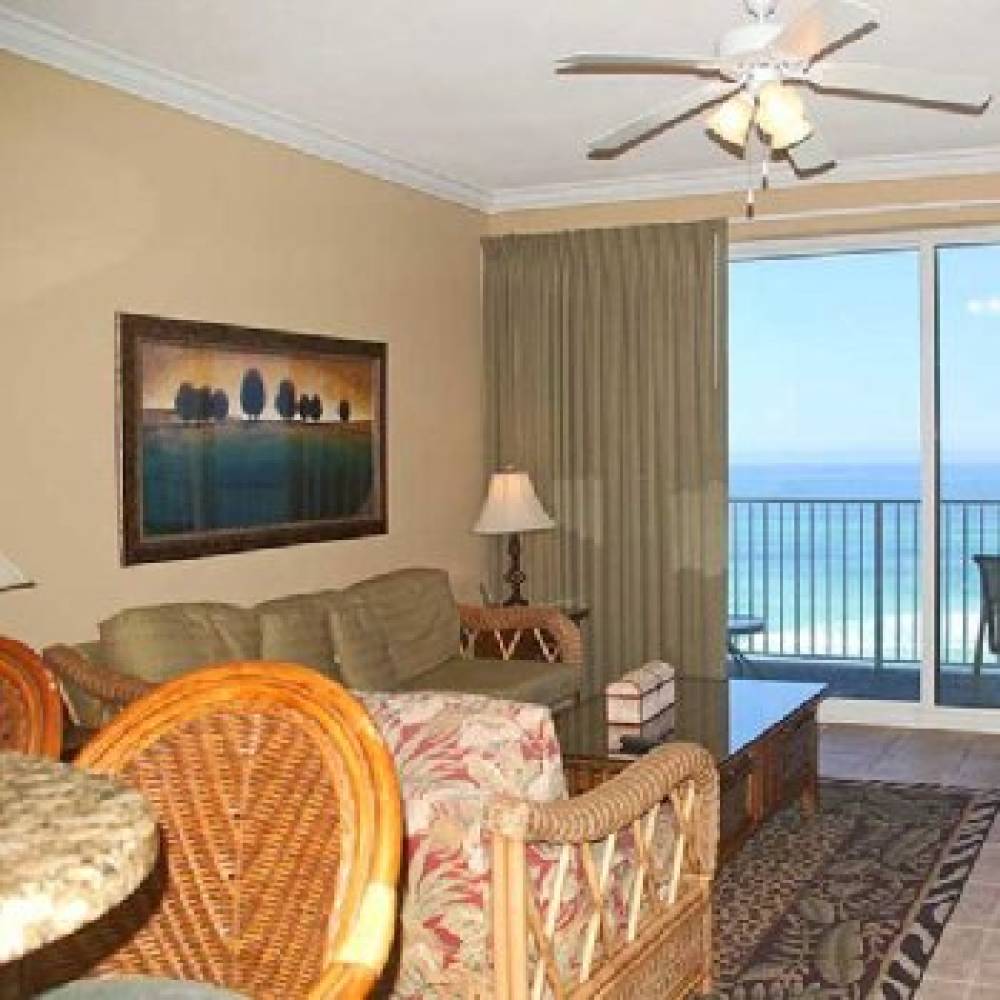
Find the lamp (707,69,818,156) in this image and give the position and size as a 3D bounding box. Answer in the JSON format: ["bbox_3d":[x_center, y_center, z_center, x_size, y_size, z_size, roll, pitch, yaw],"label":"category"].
[{"bbox_3d":[0.970,-1.431,3.166,0.374,0.125,0.385,21,43,34],"label":"lamp"}]
